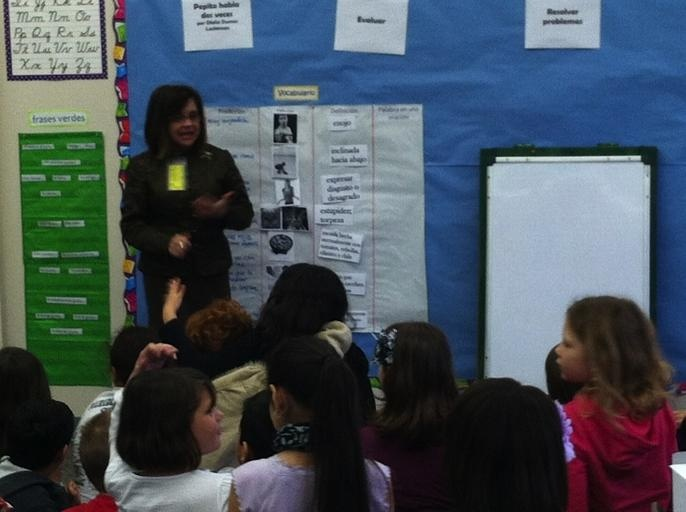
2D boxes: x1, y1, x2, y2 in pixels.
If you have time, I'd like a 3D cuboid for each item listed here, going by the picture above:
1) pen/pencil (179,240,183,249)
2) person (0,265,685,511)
[{"bbox_3d":[-0.808,-0.052,3.798,0.022,0.034,0.010,1,-1,-26],"label":"pen/pencil"},{"bbox_3d":[0.133,0.484,2.872,1.945,0.789,0.406,0,-15,9],"label":"person"}]
